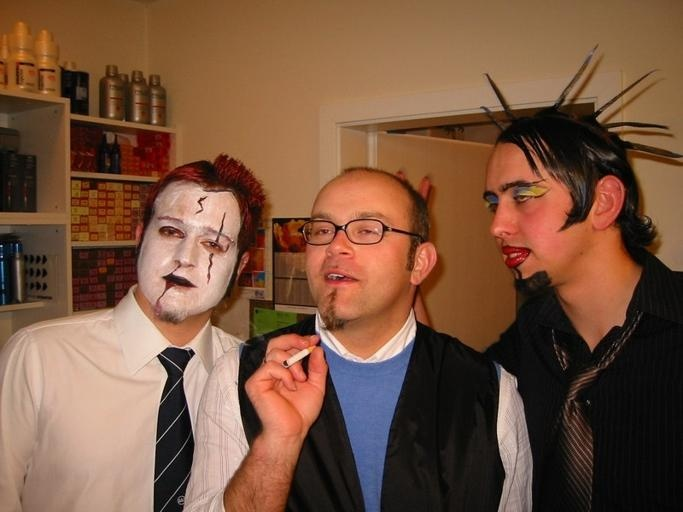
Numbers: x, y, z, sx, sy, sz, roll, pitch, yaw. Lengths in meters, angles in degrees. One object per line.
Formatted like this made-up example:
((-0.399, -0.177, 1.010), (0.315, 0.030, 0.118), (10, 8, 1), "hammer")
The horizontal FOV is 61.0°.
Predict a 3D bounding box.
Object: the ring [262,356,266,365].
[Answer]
((-0.227, 0.315, 1.706), (0.009, 0.027, 0.020), (9, 9, -3), "ring")
